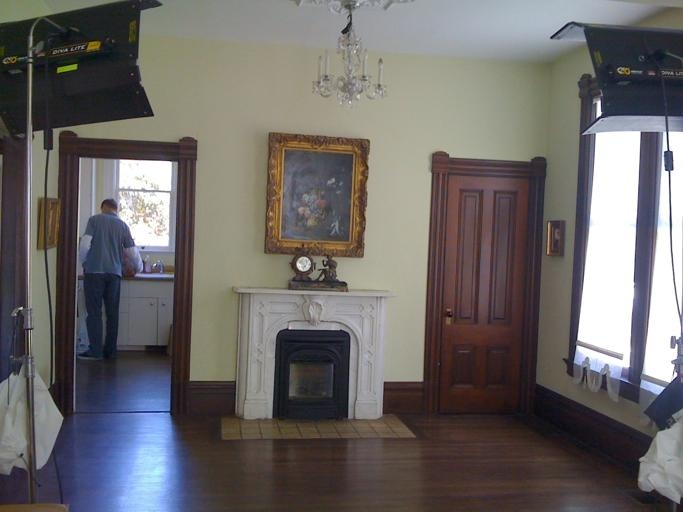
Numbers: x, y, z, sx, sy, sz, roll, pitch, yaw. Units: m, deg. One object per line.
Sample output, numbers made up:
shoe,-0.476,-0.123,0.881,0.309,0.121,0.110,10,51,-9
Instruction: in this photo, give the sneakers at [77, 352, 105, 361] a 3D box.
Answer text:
sneakers,-3.310,1.308,8.189,0.332,0.161,0.140,1,-3,5

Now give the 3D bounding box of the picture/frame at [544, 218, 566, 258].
picture/frame,2.221,-0.182,6.408,0.108,0.553,0.358,3,-3,-12

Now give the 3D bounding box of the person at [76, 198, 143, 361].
person,-3.053,0.303,8.197,0.703,2.067,0.467,-5,9,-44

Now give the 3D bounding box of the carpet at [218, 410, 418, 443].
carpet,-0.237,1.652,5.940,1.805,0.039,0.539,1,7,-6

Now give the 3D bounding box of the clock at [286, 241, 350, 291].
clock,-0.257,0.098,6.252,0.417,0.367,0.158,1,-6,-9

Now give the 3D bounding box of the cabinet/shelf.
cabinet/shelf,-3.004,0.773,8.832,1.543,1.449,0.945,0,-2,-12

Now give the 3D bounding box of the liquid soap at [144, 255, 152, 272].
liquid soap,-2.832,0.111,9.072,0.114,0.212,0.235,-1,7,-18

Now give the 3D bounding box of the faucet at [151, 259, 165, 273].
faucet,-2.650,0.163,9.011,0.146,0.184,0.152,2,3,32
